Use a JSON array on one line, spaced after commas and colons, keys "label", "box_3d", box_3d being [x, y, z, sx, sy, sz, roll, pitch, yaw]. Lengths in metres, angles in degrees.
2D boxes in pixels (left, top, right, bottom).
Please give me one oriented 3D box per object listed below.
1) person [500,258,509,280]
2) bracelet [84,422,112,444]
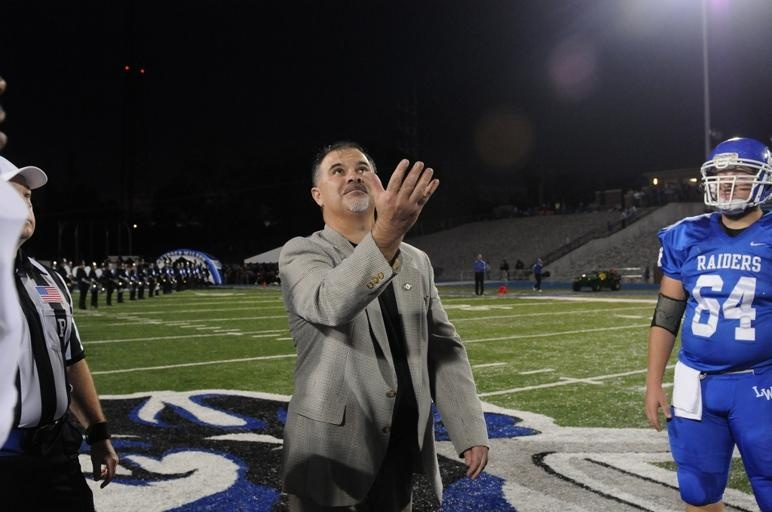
[{"label": "person", "box_3d": [8.718, 0.988, 41.199, 0.586, 1.501, 2.897, -1, 2, 12]}, {"label": "bracelet", "box_3d": [-1.522, 0.936, 3.007, 0.121, 0.085, 0.117, 3, -27, -36]}]
